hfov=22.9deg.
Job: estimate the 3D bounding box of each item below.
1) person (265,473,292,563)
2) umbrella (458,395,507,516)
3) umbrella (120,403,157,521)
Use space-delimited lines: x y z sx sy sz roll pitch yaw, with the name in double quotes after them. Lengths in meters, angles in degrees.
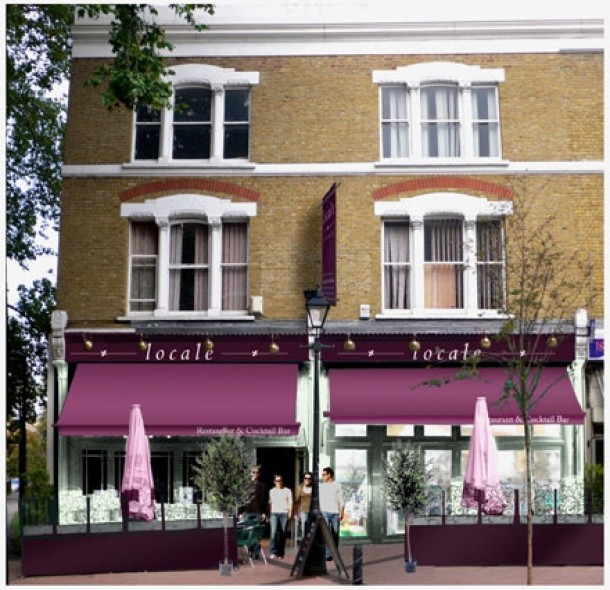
-0.547 4.705 31.741 0.491 1.748 0.715 0 -6 0 "person"
3.694 3.379 31.327 0.927 2.424 0.544 0 -6 6 "umbrella"
-3.482 3.483 31.073 0.664 2.324 0.750 1 -6 -7 "umbrella"
